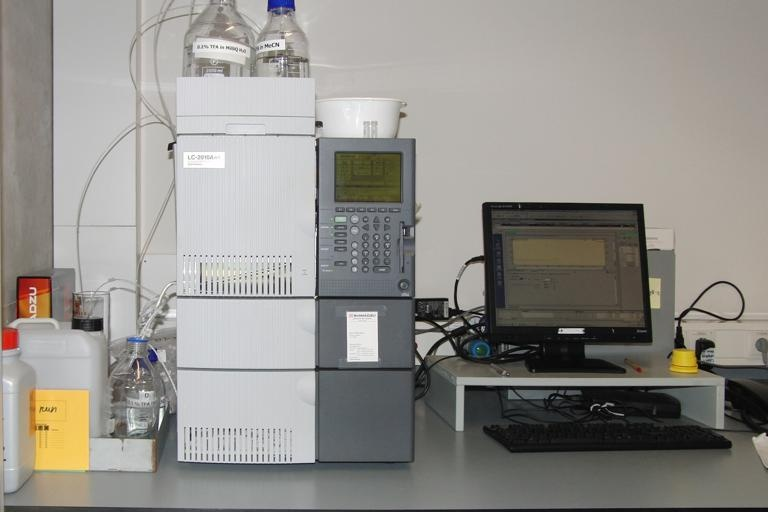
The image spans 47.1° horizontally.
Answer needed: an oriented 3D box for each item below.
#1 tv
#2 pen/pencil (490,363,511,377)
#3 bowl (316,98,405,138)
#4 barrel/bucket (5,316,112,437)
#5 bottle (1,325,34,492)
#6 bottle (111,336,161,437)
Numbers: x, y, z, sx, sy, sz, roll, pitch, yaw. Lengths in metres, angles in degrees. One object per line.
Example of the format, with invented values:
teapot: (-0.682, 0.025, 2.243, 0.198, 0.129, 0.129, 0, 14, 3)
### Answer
tv: (0.613, 0.104, 2.993, 0.622, 0.553, 0.252, 0, -2, -2)
pen/pencil: (0.381, 0.378, 2.917, 0.022, 0.024, 0.075, 13, 7, -19)
bowl: (-0.075, -0.413, 2.664, 0.259, 0.115, 0.069, 0, 1, -3)
barrel/bucket: (-0.946, 0.444, 2.699, 0.222, 0.381, 0.288, -2, -44, -15)
bottle: (-1.039, 0.435, 2.512, 0.084, 0.457, 0.070, -1, 1, -22)
bottle: (-0.767, 0.391, 2.660, 0.173, 0.292, 0.150, 0, 1, 17)
